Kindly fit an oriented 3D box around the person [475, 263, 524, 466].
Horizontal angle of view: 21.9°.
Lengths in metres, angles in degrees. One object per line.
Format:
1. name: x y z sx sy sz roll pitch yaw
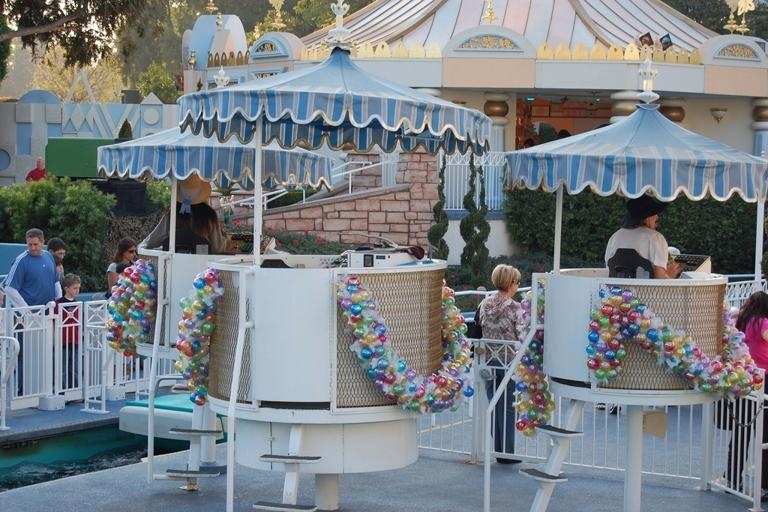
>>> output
1. person: 2.644 2.269 42.454 1.111 3.763 1.283 0 -1 43
